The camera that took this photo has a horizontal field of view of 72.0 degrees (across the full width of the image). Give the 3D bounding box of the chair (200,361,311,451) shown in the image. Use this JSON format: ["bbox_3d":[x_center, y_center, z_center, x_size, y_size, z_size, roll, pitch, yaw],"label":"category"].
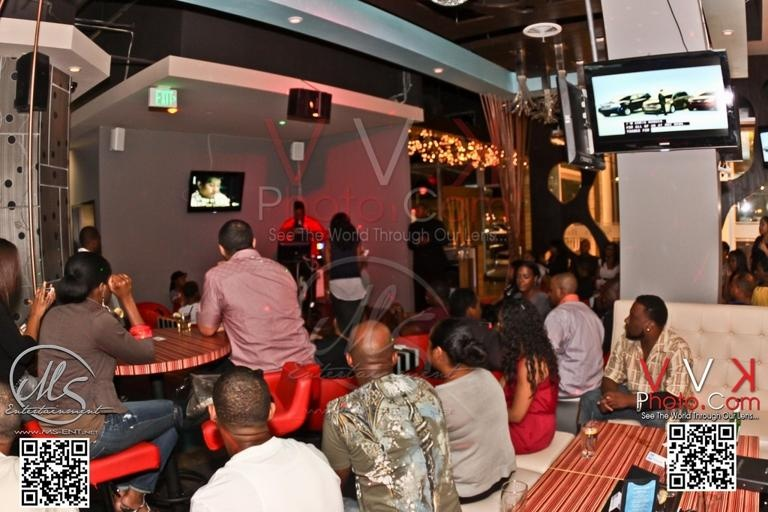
[{"bbox_3d":[-0.804,0.868,3.407,0.652,0.567,0.547,-5,10,-22],"label":"chair"}]

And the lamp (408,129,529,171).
[{"bbox_3d":[1.360,-1.775,8.872,1.105,0.328,0.706,20,-5,-33],"label":"lamp"}]

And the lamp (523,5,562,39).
[{"bbox_3d":[1.860,-2.769,6.191,0.448,0.178,0.453,-7,-13,29],"label":"lamp"}]

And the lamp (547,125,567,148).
[{"bbox_3d":[3.237,-2.272,9.893,0.237,0.361,0.480,-3,-2,14],"label":"lamp"}]

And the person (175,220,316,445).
[{"bbox_3d":[-1.002,0.616,4.165,0.916,1.768,0.866,-5,19,-14],"label":"person"}]

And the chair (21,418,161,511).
[{"bbox_3d":[-1.543,1.009,2.854,0.526,0.604,0.423,-10,5,-25],"label":"chair"}]

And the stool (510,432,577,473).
[{"bbox_3d":[0.947,1.155,3.175,0.234,0.161,0.356,-6,20,40],"label":"stool"}]

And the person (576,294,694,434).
[{"bbox_3d":[1.705,0.715,3.609,0.700,0.902,0.408,-4,-2,27],"label":"person"}]

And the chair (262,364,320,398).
[{"bbox_3d":[-0.575,0.768,3.394,0.277,0.229,0.263,-2,2,-24],"label":"chair"}]

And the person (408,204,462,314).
[{"bbox_3d":[0.813,-0.074,8.845,0.819,1.472,0.308,-2,-2,-23],"label":"person"}]

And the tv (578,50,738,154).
[{"bbox_3d":[1.908,-1.059,3.686,0.916,0.652,0.126,-3,8,23],"label":"tv"}]

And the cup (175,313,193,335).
[{"bbox_3d":[-1.578,0.553,4.288,0.137,0.179,0.178,0,-10,-11],"label":"cup"}]

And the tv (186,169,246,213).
[{"bbox_3d":[-2.705,-1.040,8.385,0.747,0.532,0.079,-2,4,-38],"label":"tv"}]
